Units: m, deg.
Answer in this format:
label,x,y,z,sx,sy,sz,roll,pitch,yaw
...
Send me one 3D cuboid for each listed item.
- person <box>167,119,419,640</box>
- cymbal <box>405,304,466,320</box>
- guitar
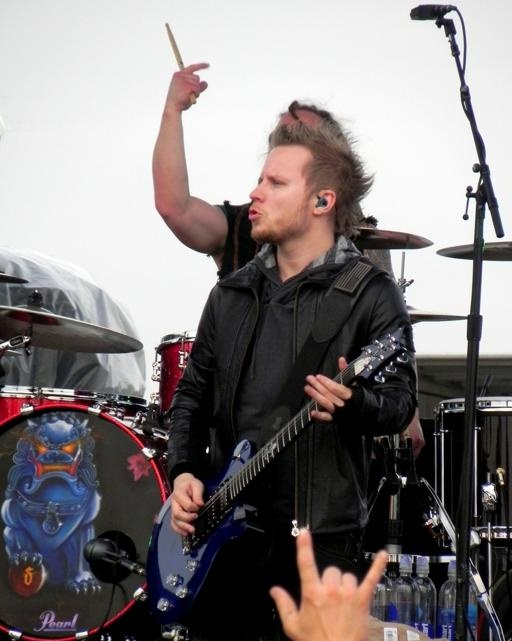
label,x,y,z,sx,sy,sz,roll,pitch,yaw
person,0.116,0.091,1.733,0.468,1.456,0.771,9,-13,-18
cymbal,1.147,-0.062,4.427,0.233,0.046,0.225,-2,-5,26
guitar,0.122,0.389,1.885,0.636,0.803,0.715,0,-2,42
